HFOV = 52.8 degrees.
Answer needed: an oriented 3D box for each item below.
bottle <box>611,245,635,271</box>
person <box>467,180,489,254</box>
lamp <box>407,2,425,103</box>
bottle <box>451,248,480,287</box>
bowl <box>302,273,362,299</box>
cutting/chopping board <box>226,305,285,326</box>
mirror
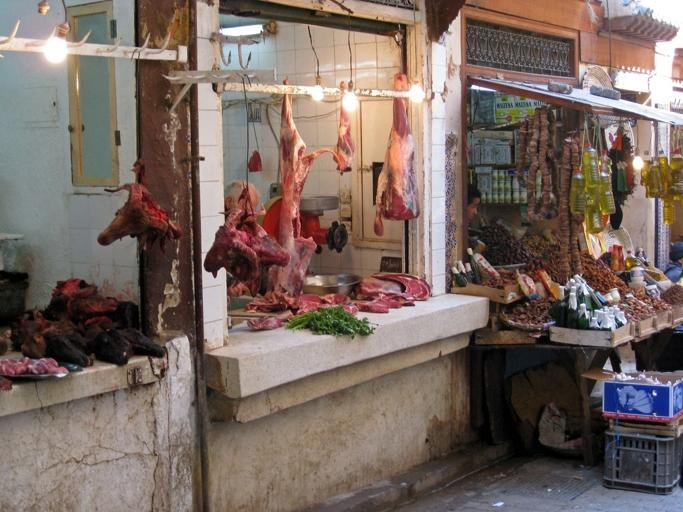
[{"bbox_3d":[4.057,0.058,9.980,0.366,0.449,0.255,-3,-7,1],"label":"bottle"},{"bbox_3d":[1.825,-0.512,9.263,0.240,0.927,1.720,-1,4,11],"label":"person"},{"bbox_3d":[0.842,-2.301,7.747,0.226,1.145,0.205,-2,3,3],"label":"lamp"},{"bbox_3d":[1.511,0.144,8.371,0.263,0.418,0.361,0,4,33],"label":"bottle"},{"bbox_3d":[-0.091,0.354,7.713,0.638,0.214,0.836,-2,4,0],"label":"bowl"},{"bbox_3d":[-0.893,0.609,6.611,0.619,0.145,0.399,0,5,26],"label":"cutting/chopping board"},{"bbox_3d":[-2.290,-1.496,6.366,0.718,1.709,0.208,1,4,44],"label":"mirror"}]
